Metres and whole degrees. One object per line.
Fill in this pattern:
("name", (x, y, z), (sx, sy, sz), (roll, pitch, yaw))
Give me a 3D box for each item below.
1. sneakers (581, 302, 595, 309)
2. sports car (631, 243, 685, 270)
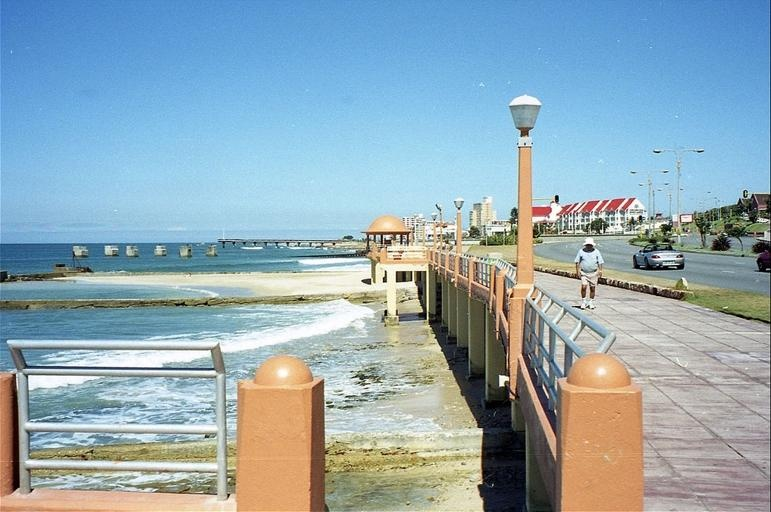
("sneakers", (5.636, 1.397, 16.329), (0.229, 0.129, 0.340), (-1, -6, 8))
("sports car", (15.536, 0.180, 33.341), (2.301, 1.267, 3.400), (0, 5, 17))
